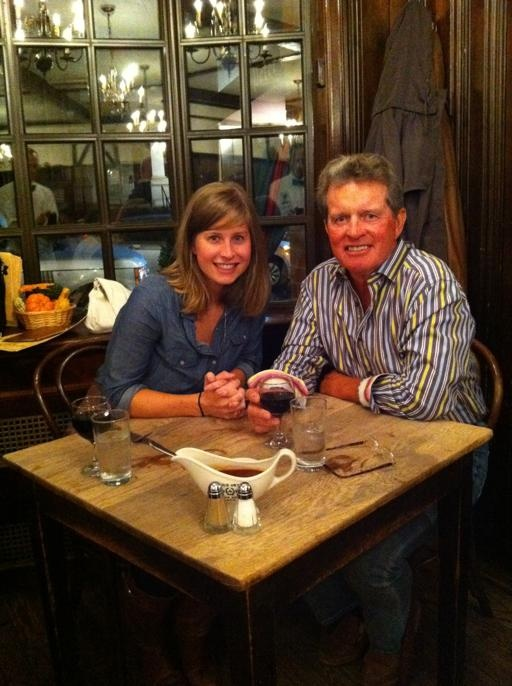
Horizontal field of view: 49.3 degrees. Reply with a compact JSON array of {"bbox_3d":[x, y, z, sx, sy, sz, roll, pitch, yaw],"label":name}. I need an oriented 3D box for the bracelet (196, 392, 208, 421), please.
[{"bbox_3d":[-0.140,0.163,1.413,0.046,0.045,0.050,-1,3,-3],"label":"bracelet"}]

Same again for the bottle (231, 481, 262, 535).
[{"bbox_3d":[-0.015,0.236,0.801,0.065,0.082,0.061,-1,-1,0],"label":"bottle"}]

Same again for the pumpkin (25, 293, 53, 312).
[{"bbox_3d":[-0.861,-0.145,2.214,0.091,0.081,0.081,4,-14,-27],"label":"pumpkin"}]

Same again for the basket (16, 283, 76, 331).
[{"bbox_3d":[-0.852,-0.149,2.238,0.210,0.102,0.209,27,33,28],"label":"basket"}]
